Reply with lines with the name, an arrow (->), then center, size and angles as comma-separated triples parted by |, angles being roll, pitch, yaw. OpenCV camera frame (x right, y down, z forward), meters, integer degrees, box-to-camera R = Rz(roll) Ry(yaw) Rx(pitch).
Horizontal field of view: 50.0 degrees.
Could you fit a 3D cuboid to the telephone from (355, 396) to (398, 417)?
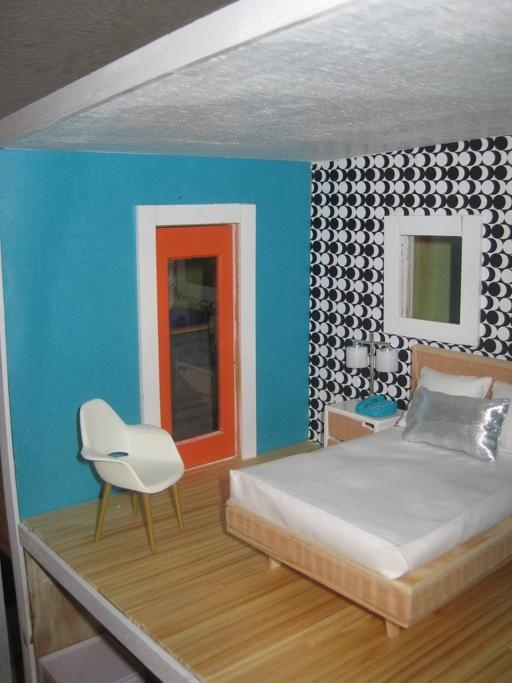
telephone -> 0.981, 0.525, 4.428 | 0.308, 0.122, 0.289 | -7, 9, -35
